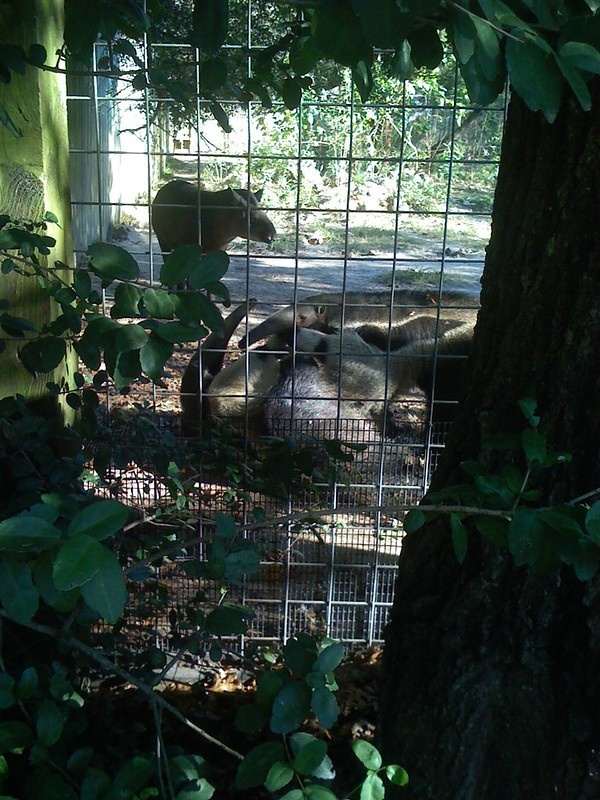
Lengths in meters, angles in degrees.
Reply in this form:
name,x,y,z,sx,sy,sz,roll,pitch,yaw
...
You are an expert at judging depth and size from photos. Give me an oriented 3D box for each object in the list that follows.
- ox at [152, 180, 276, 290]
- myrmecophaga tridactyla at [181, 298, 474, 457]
name,x,y,z,sx,sy,sz,roll,pitch,yaw
ox,-0.364,-0.774,3.314,0.340,0.942,0.435,2,5,-1
myrmecophaga tridactyla,0.104,-0.092,3.653,1.462,0.818,1.249,2,20,9
